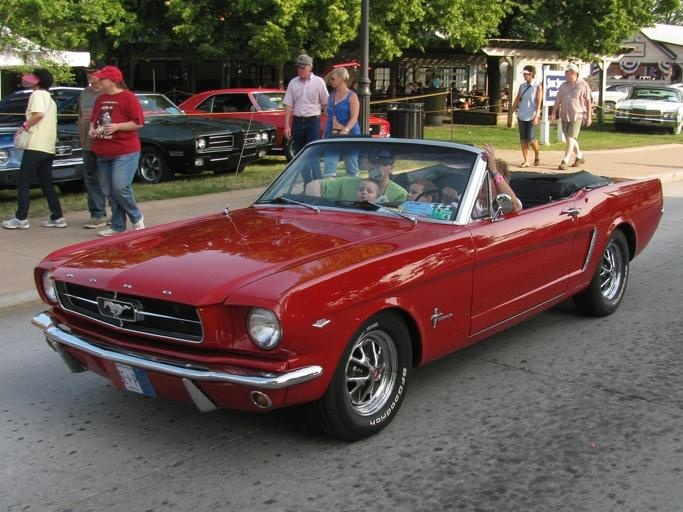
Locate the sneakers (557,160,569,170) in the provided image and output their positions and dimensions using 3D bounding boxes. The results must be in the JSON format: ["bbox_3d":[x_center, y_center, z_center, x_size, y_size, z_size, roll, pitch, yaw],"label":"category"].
[{"bbox_3d":[5.632,-2.306,13.450,0.257,0.199,0.622,0,7,26],"label":"sneakers"}]

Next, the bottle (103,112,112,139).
[{"bbox_3d":[-3.158,-1.767,7.079,0.123,0.341,0.234,-8,15,-20],"label":"bottle"}]

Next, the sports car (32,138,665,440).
[{"bbox_3d":[0.649,-0.046,4.211,4.706,1.095,2.203,-11,15,-40],"label":"sports car"}]

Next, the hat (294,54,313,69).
[{"bbox_3d":[-0.694,-3.443,9.281,0.268,0.252,0.415,-1,12,1],"label":"hat"}]

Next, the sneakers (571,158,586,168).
[{"bbox_3d":[6.319,-2.497,14.076,0.212,0.208,0.575,3,8,43],"label":"sneakers"}]

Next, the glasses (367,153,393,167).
[{"bbox_3d":[0.300,-0.754,4.087,0.156,0.127,0.048,-3,51,18],"label":"glasses"}]

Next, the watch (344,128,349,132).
[{"bbox_3d":[0.073,-2.107,8.786,0.100,0.068,0.019,-1,26,12],"label":"watch"}]

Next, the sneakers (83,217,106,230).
[{"bbox_3d":[-3.886,-0.523,8.413,0.161,0.132,0.390,7,7,39],"label":"sneakers"}]

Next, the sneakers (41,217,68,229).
[{"bbox_3d":[-4.574,-0.530,8.430,0.489,0.151,0.155,2,11,7],"label":"sneakers"}]

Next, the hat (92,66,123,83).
[{"bbox_3d":[-3.132,-2.444,7.040,0.324,0.253,0.510,-5,12,-16],"label":"hat"}]

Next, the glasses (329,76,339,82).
[{"bbox_3d":[-0.107,-2.978,8.852,0.108,0.023,0.093,3,1,-31],"label":"glasses"}]

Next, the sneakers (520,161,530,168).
[{"bbox_3d":[4.914,-2.448,14.231,0.173,0.153,0.480,-4,-3,36],"label":"sneakers"}]

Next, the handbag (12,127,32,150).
[{"bbox_3d":[-4.916,-1.786,8.063,0.209,0.308,0.327,-14,18,-41],"label":"handbag"}]
